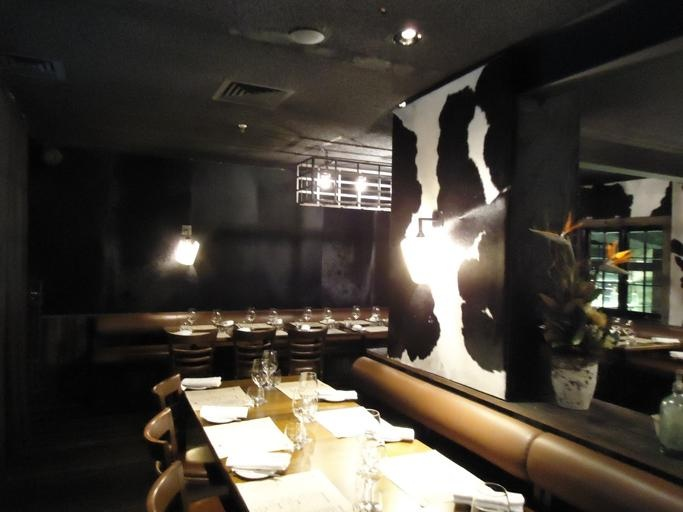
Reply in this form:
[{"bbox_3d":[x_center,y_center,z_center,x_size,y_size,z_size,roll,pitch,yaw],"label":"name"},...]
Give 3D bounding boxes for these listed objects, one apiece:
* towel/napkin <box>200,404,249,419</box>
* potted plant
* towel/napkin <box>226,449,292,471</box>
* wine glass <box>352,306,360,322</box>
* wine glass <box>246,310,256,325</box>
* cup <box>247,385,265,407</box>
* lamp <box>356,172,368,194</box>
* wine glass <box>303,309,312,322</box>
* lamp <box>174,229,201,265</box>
[{"bbox_3d":[-0.768,1.009,3.340,0.188,0.045,0.120,2,-4,-5],"label":"towel/napkin"},{"bbox_3d":[1.597,0.354,3.493,0.477,1.314,0.563,-3,3,-44],"label":"potted plant"},{"bbox_3d":[-0.455,1.121,2.799,0.353,0.069,0.167,-1,2,-4],"label":"towel/napkin"},{"bbox_3d":[0.199,0.763,6.879,0.169,0.250,0.173,0,2,3],"label":"wine glass"},{"bbox_3d":[-1.159,0.747,6.543,0.093,0.204,0.243,-2,2,-15],"label":"wine glass"},{"bbox_3d":[-0.601,0.970,3.586,0.116,0.119,0.117,-2,1,0],"label":"cup"},{"bbox_3d":[0.230,-0.869,6.001,0.194,0.259,0.211,1,1,2],"label":"lamp"},{"bbox_3d":[-0.466,0.779,7.012,0.115,0.214,0.450,-1,2,-5],"label":"wine glass"},{"bbox_3d":[-2.045,-0.150,6.748,0.343,0.543,0.164,-2,3,-23],"label":"lamp"}]
